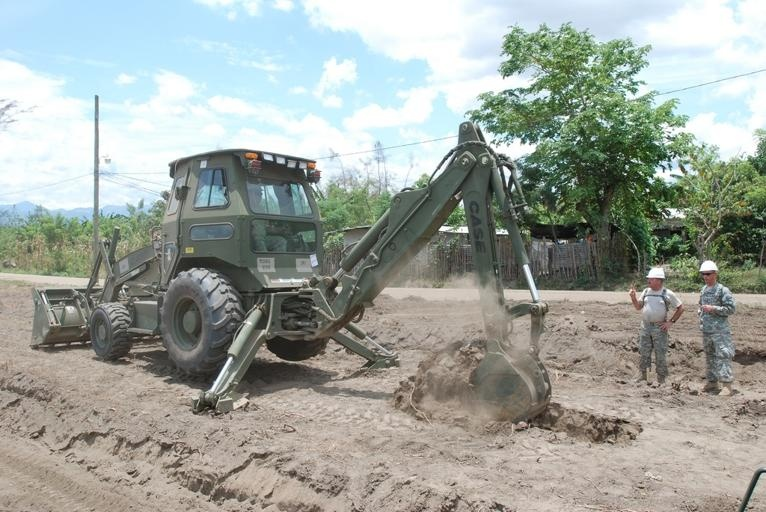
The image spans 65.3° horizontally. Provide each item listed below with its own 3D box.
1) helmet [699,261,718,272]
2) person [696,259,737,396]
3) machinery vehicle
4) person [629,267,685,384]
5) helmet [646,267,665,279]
[{"bbox_3d":[6.252,0.202,11.461,0.335,0.235,0.466,-1,-6,43],"label":"helmet"},{"bbox_3d":[5.504,1.201,9.802,0.637,2.178,0.900,5,10,31],"label":"person"},{"bbox_3d":[-1.440,0.277,10.011,7.750,3.180,3.989,2,0,40],"label":"machinery vehicle"},{"bbox_3d":[4.641,1.219,10.165,0.761,1.975,0.813,4,9,24],"label":"person"},{"bbox_3d":[5.651,0.357,12.396,0.487,0.263,0.376,8,-8,-43],"label":"helmet"}]
